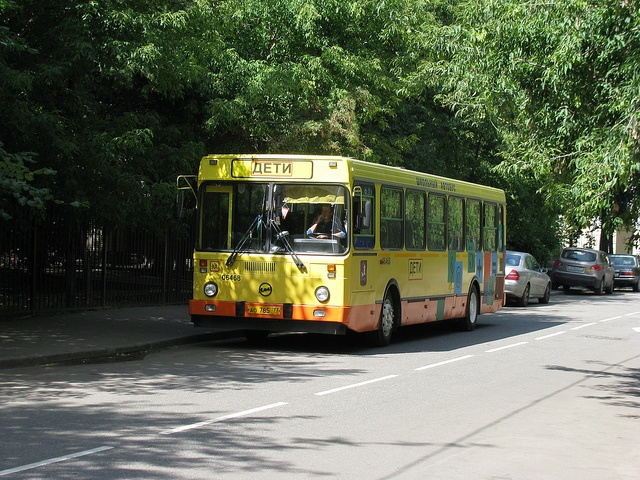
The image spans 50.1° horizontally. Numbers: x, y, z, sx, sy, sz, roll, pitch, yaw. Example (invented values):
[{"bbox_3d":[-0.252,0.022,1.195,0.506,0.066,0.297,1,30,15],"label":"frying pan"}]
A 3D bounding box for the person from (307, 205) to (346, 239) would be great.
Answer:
[{"bbox_3d":[0.083,-0.332,13.202,0.733,0.745,0.425,2,-9,6],"label":"person"}]

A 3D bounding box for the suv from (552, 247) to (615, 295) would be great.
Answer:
[{"bbox_3d":[14.209,1.705,36.779,3.151,2.437,2.722,2,-4,-27],"label":"suv"}]
